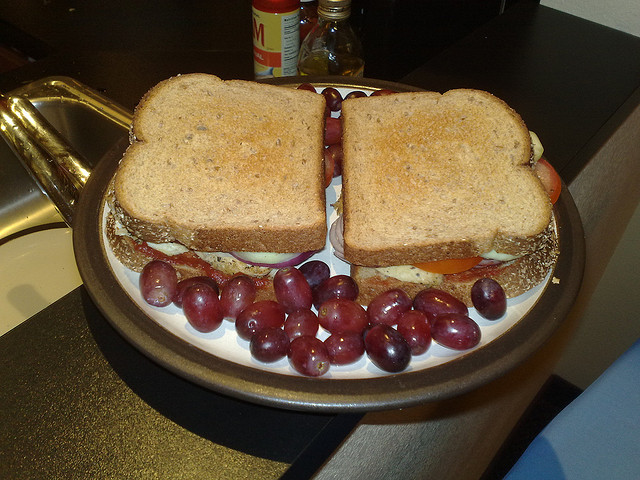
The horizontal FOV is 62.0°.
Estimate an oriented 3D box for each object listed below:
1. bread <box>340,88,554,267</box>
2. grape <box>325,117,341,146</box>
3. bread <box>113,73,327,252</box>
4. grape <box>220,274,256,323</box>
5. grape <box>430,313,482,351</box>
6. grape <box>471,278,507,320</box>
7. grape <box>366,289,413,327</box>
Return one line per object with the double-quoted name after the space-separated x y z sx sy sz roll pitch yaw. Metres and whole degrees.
0.324 -0.172 1.525 0.558 0.136 0.539 0 67 1 "bread"
0.042 -0.351 1.723 0.066 0.044 0.082 0 69 -4 "grape"
-0.267 -0.197 1.435 0.535 0.125 0.533 4 71 -2 "bread"
-0.227 0.154 1.435 0.091 0.109 0.077 23 35 33 "grape"
0.336 0.229 1.333 0.110 0.066 0.079 7 91 10 "grape"
0.442 0.156 1.395 0.078 0.062 0.106 -10 71 1 "grape"
0.189 0.180 1.455 0.116 0.073 0.068 -29 56 -5 "grape"
